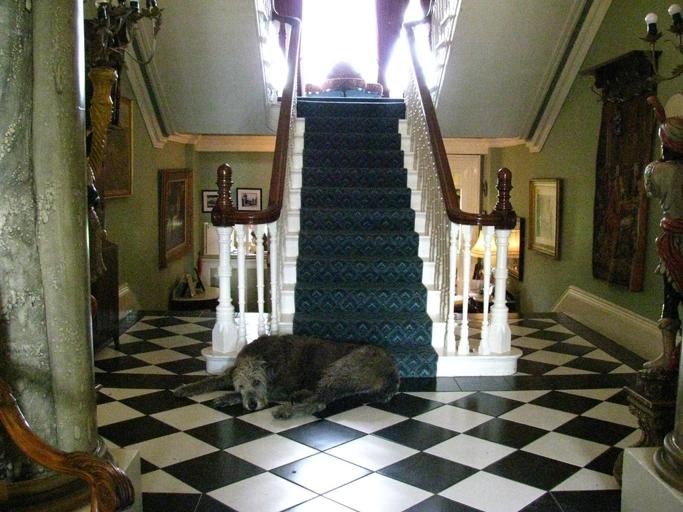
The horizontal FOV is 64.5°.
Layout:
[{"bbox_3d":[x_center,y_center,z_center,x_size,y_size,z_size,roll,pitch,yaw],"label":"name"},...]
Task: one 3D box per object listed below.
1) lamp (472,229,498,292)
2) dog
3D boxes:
[{"bbox_3d":[2.109,0.016,7.803,0.464,0.911,0.518,0,14,16],"label":"lamp"},{"bbox_3d":[-0.256,0.799,3.718,0.975,0.334,0.712,2,-7,-15],"label":"dog"}]
